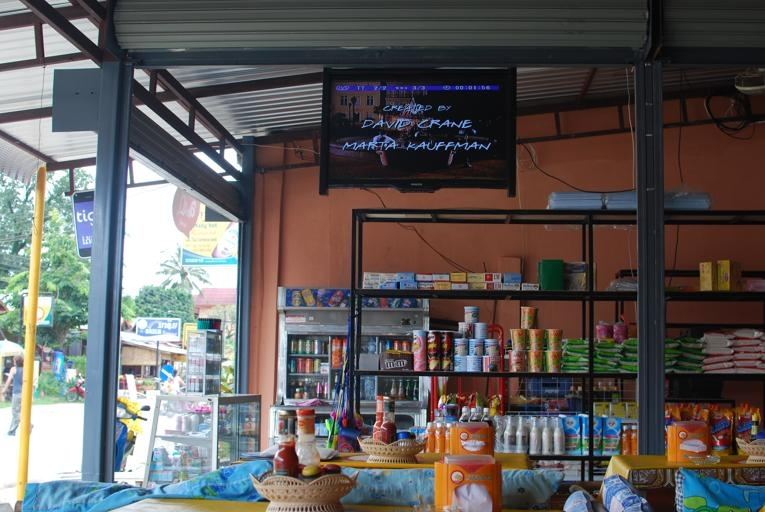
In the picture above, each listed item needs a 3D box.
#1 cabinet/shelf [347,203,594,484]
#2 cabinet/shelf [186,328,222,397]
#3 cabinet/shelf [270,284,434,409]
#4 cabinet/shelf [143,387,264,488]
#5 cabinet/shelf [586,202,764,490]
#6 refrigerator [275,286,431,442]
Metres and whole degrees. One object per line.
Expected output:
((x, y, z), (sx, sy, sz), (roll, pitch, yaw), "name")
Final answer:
((1.011, 0.973, 9.859), (3.213, 4.097, 0.896), (0, -1, 1), "cabinet/shelf")
((-1.889, 1.147, 9.951), (0.447, 0.703, 0.286), (5, -16, -26), "cabinet/shelf")
((-0.313, 1.106, 11.193), (1.767, 1.540, 0.670), (0, -9, 1), "cabinet/shelf")
((-1.805, 1.935, 9.883), (1.276, 0.959, 0.593), (10, -18, -39), "cabinet/shelf")
((2.951, 0.694, 9.060), (1.617, 2.426, 1.218), (4, -16, -21), "cabinet/shelf")
((-0.268, 1.233, 10.593), (2.097, 2.190, 0.815), (0, -9, 3), "refrigerator")
